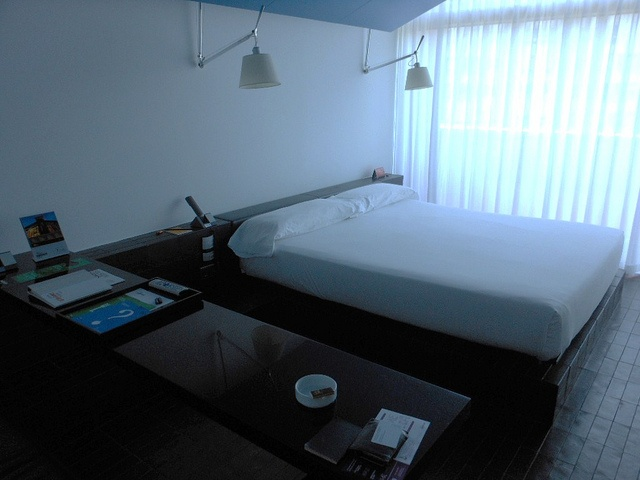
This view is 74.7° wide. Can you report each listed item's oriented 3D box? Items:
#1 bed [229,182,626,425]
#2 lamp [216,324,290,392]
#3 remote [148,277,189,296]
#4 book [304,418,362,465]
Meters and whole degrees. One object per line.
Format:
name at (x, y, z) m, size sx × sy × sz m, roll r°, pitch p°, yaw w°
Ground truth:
bed at (0.715, 0.300, 2.990) m, size 2.057 × 0.511 × 1.804 m, roll 13°, pitch 22°, yaw 37°
lamp at (-0.274, 0.490, 1.808) m, size 0.166 × 0.173 × 0.249 m, roll 14°, pitch 24°, yaw 35°
remote at (-0.797, 0.252, 2.219) m, size 0.172 × 0.041 × 0.103 m, roll 16°, pitch 21°, yaw 21°
book at (0.048, 0.662, 1.388) m, size 0.122 × 0.026 × 0.177 m, roll 10°, pitch 24°, yaw 36°
